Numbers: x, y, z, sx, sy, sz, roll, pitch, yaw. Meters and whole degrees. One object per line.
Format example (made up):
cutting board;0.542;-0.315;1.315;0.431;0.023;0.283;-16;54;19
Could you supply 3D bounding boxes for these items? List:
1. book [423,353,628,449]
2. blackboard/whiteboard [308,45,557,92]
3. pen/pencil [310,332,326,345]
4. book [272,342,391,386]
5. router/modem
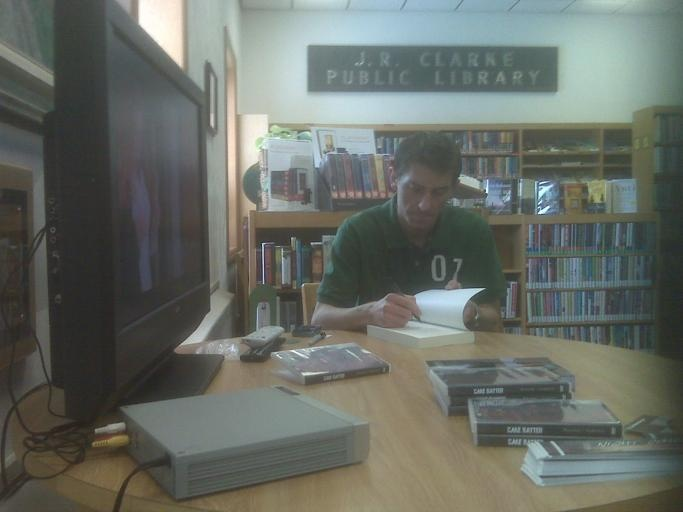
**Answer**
book;0.268;0.200;0.946;0.331;0.083;0.272;2;6;4
blackboard/whiteboard;0.745;-1.763;5.287;2.843;0.452;0.148;0;0;-1
pen/pencil;-0.058;0.205;1.421;0.013;0.026;0.064;7;12;14
book;-0.021;0.215;1.124;0.096;0.019;0.107;-3;13;-31
router/modem;-0.142;0.260;0.824;0.318;0.067;0.207;-5;14;-27
